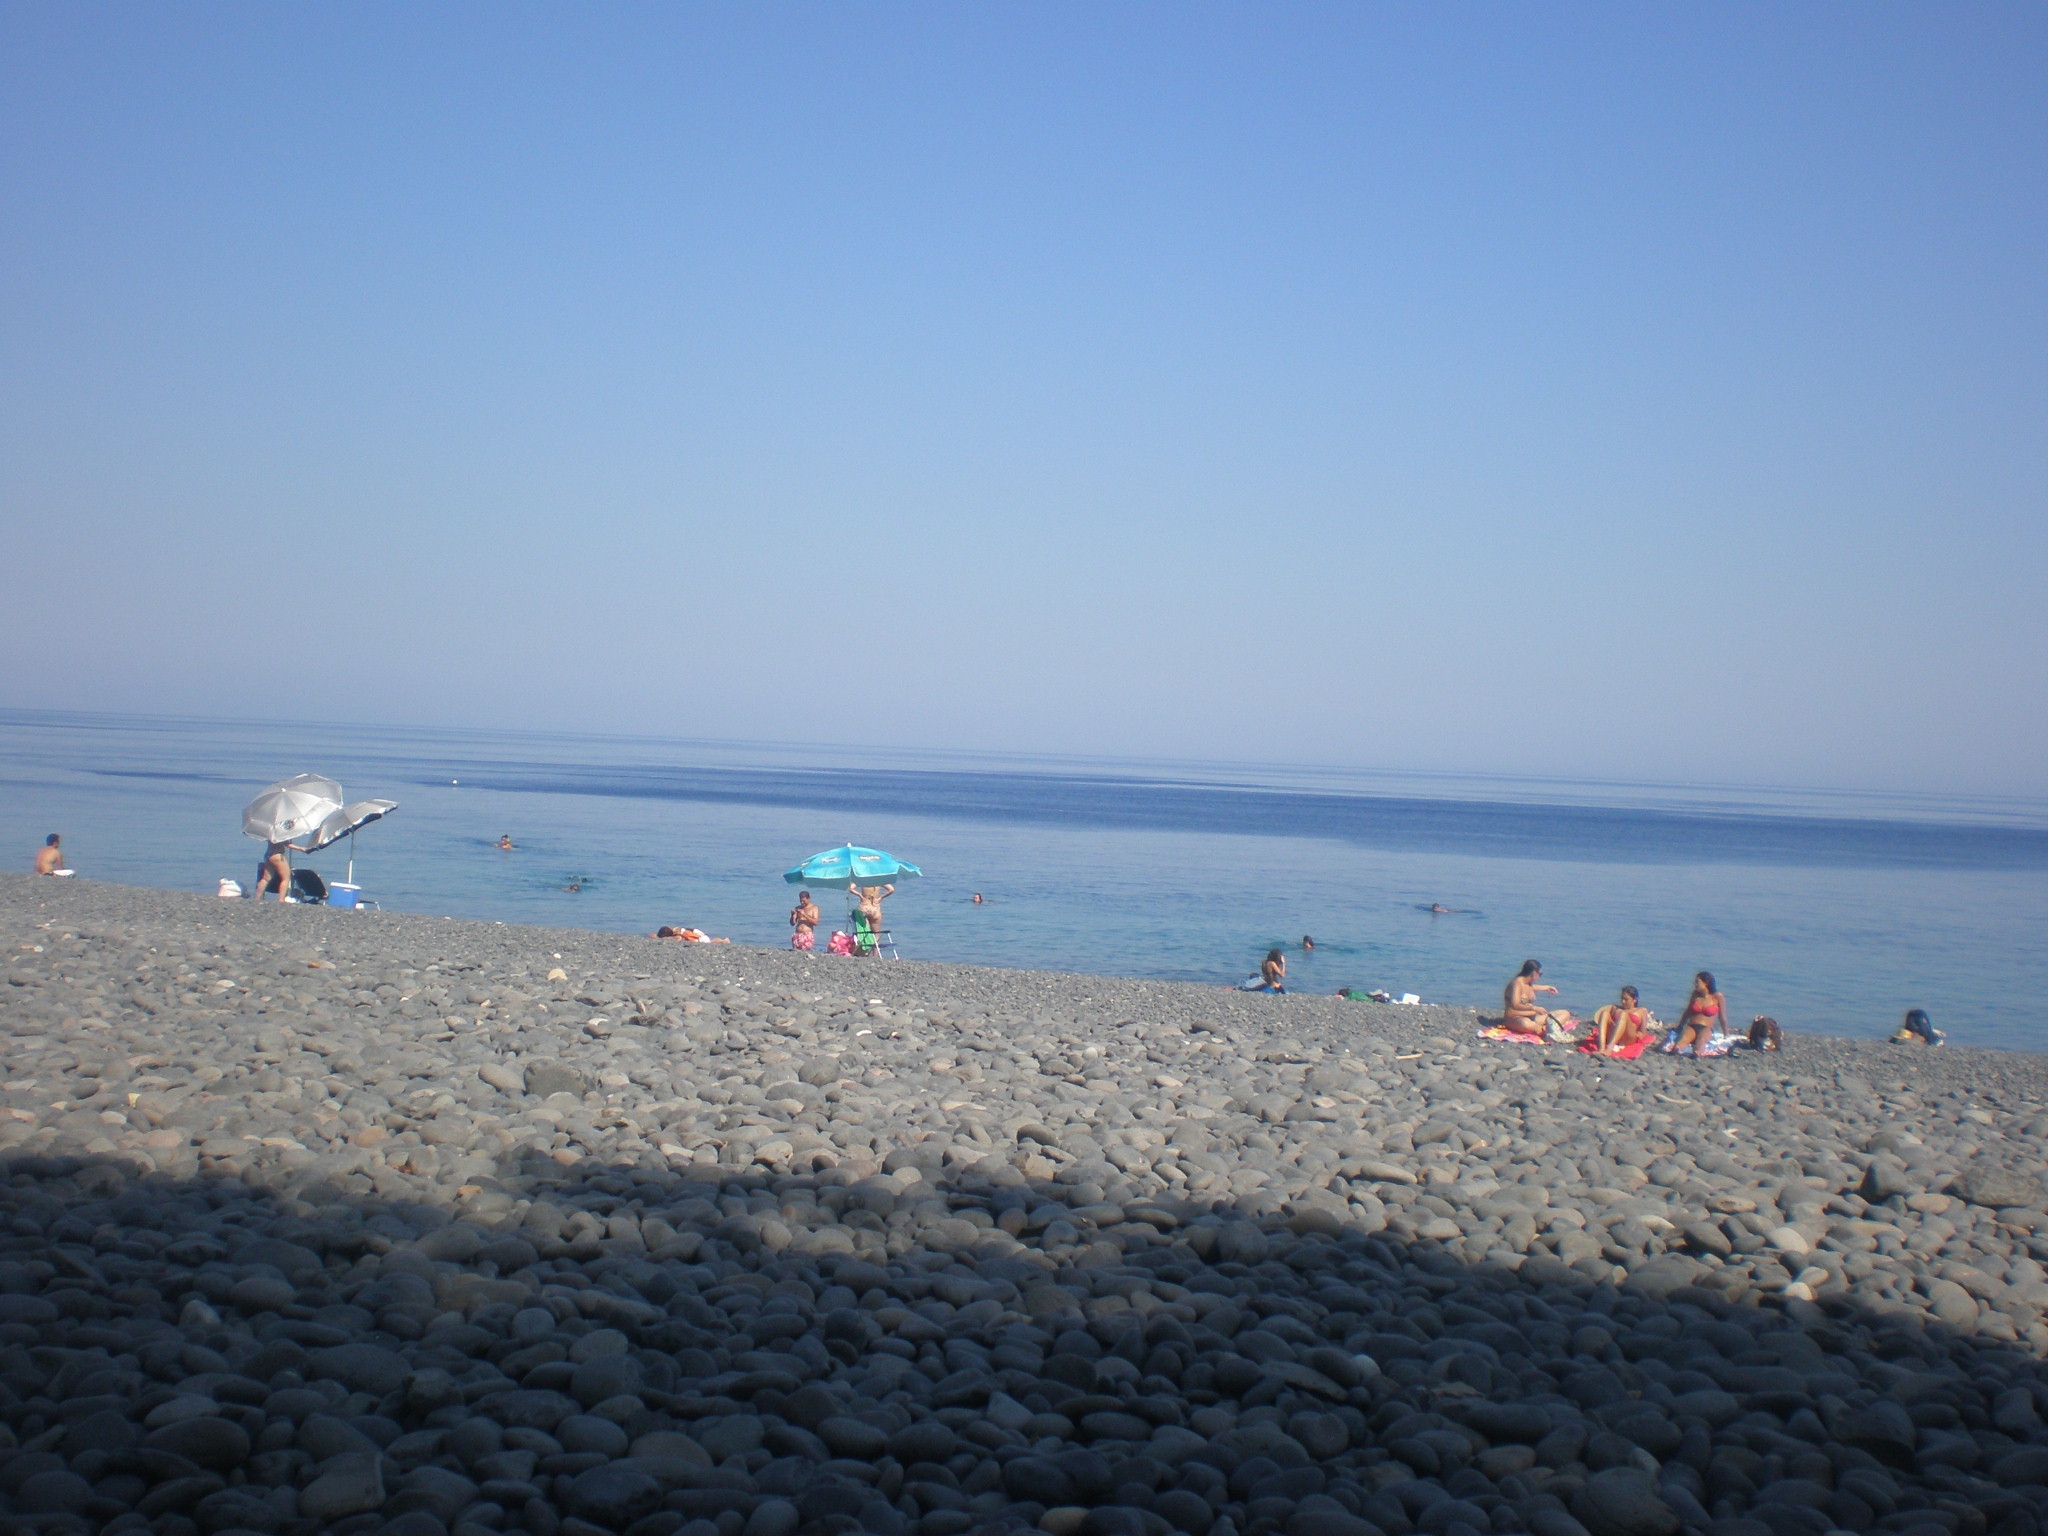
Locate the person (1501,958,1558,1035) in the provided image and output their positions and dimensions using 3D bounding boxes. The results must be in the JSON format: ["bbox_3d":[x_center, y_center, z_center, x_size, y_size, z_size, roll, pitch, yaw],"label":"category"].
[{"bbox_3d":[6.368,2.911,20.747,0.548,0.926,1.191,5,-4,23],"label":"person"}]

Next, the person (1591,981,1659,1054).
[{"bbox_3d":[7.116,3.020,19.515,0.856,0.333,0.988,3,22,27],"label":"person"}]
